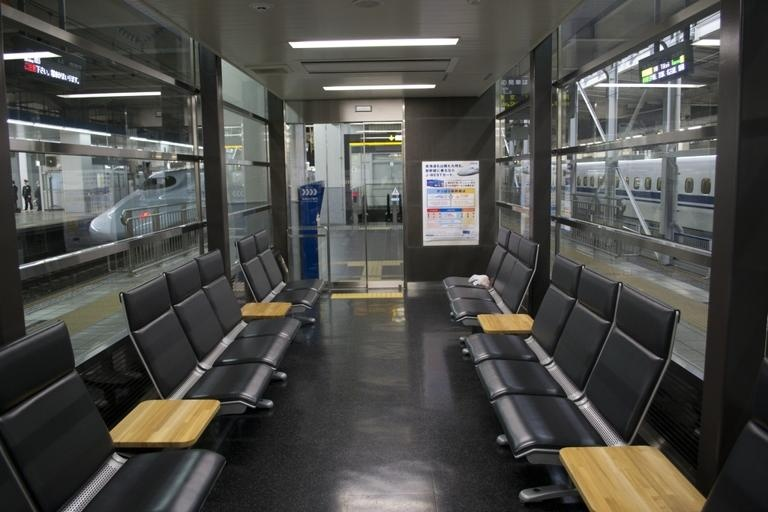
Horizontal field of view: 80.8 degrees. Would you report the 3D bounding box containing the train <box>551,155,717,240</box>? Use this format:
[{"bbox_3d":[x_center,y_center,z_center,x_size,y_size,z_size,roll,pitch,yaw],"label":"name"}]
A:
[{"bbox_3d":[2.605,-0.707,4.623,0.409,0.659,2.851,-4,10,0],"label":"train"}]

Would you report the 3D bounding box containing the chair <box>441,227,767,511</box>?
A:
[{"bbox_3d":[1.407,0.794,3.751,0.989,1.211,1.633,-3,13,-5],"label":"chair"}]
